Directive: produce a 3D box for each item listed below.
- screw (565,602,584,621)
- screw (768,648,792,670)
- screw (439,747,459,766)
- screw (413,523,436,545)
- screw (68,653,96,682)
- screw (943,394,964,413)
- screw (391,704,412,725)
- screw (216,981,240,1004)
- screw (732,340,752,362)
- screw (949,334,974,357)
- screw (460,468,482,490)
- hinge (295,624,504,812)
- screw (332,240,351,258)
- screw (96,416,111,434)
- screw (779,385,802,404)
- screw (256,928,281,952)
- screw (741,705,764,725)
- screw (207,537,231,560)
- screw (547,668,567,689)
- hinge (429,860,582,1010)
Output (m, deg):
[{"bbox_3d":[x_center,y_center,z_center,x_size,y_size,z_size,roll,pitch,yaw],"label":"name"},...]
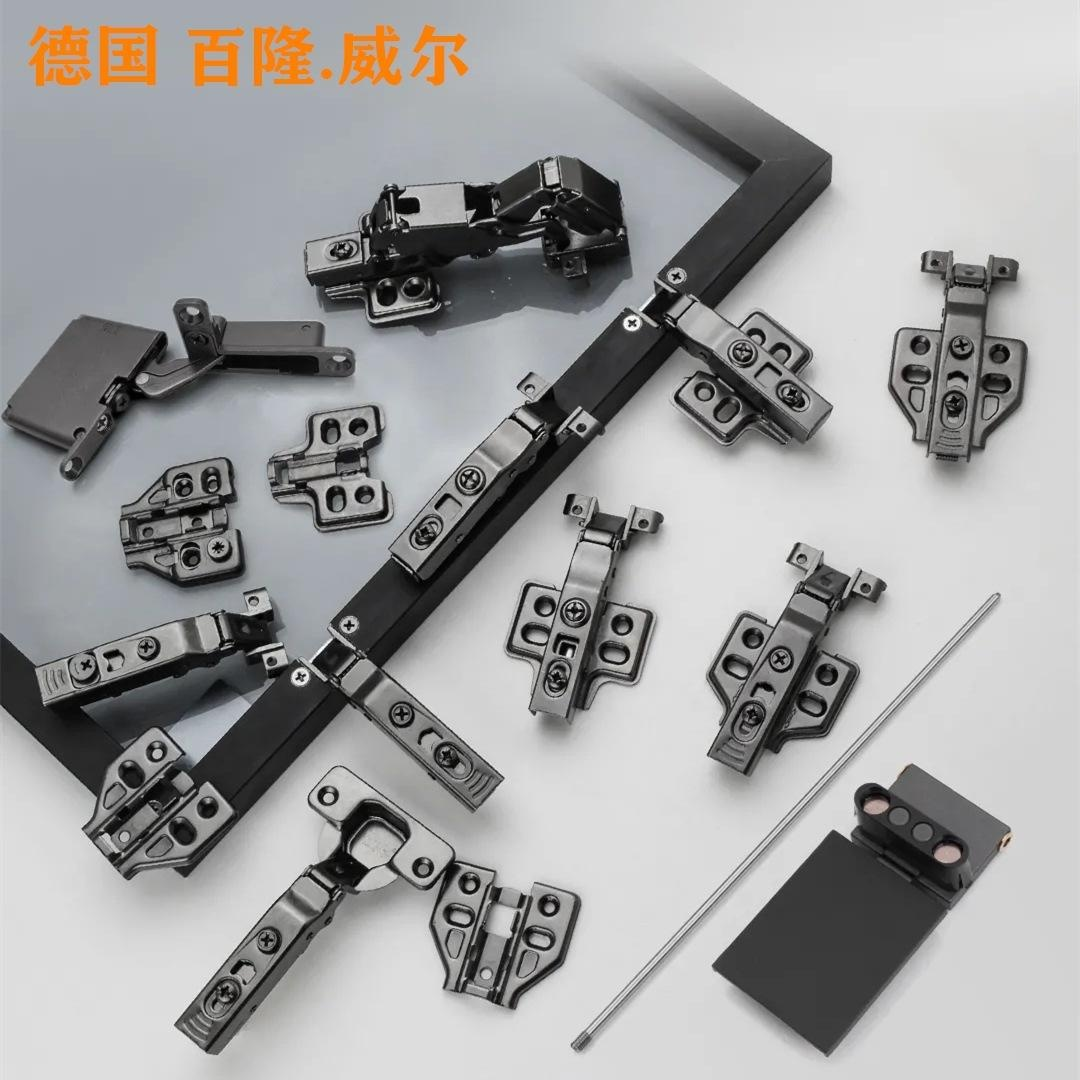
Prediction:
[{"bbox_3d":[0.089,0.192,3.144,0.045,0.016,0.052,-4,81,15],"label":"screw"},{"bbox_3d":[0.619,0.309,3.006,0.055,0.027,0.058,-14,43,-19],"label":"screw"},{"bbox_3d":[-0.241,0.553,2.991,0.044,0.016,0.051,-10,83,0],"label":"screw"},{"bbox_3d":[-0.316,-0.021,3.159,0.047,0.020,0.069,35,87,12],"label":"screw"},{"bbox_3d":[-1.252,0.351,3.185,0.070,0.051,0.058,-5,40,-10],"label":"screw"},{"bbox_3d":[1.151,-0.378,3.236,0.041,0.014,0.065,2,87,20],"label":"screw"},{"bbox_3d":[-0.362,0.451,3.022,0.050,0.018,0.057,1,84,9],"label":"screw"},{"bbox_3d":[-0.766,1.110,2.861,0.059,0.032,0.046,11,41,9],"label":"screw"},{"bbox_3d":[0.566,-0.527,3.278,0.051,0.014,0.059,-1,80,12],"label":"screw"},{"bbox_3d":[1.186,-0.545,3.286,0.063,0.038,0.056,13,41,12],"label":"screw"},{"bbox_3d":[-0.191,-0.164,3.175,0.066,0.044,0.055,-3,40,-7],"label":"screw"},{"bbox_3d":[-0.381,0.498,3.134,0.125,0.095,0.547,-40,81,-9],"label":"hinge"},{"bbox_3d":[-0.617,-0.905,3.627,0.051,0.016,0.059,-4,85,8],"label":"screw"},{"bbox_3d":[-1.359,-0.360,3.628,0.013,0.047,0.046,4,52,23],"label":"screw"},{"bbox_3d":[0.699,-0.404,3.244,0.052,0.017,0.056,30,95,1],"label":"screw"},{"bbox_3d":[-0.682,0.997,2.908,0.046,0.016,0.053,-5,78,-1],"label":"screw"},{"bbox_3d":[0.543,0.445,2.984,0.048,0.012,0.054,-18,84,16],"label":"screw"},{"bbox_3d":[-0.954,0.022,3.449,0.059,0.024,0.068,-6,77,4],"label":"screw"},{"bbox_3d":[0.040,0.369,3.101,0.039,0.014,0.062,-3,73,10],"label":"screw"},{"bbox_3d":[-0.104,1.006,2.953,0.370,0.174,0.251,11,41,9],"label":"hinge"}]
